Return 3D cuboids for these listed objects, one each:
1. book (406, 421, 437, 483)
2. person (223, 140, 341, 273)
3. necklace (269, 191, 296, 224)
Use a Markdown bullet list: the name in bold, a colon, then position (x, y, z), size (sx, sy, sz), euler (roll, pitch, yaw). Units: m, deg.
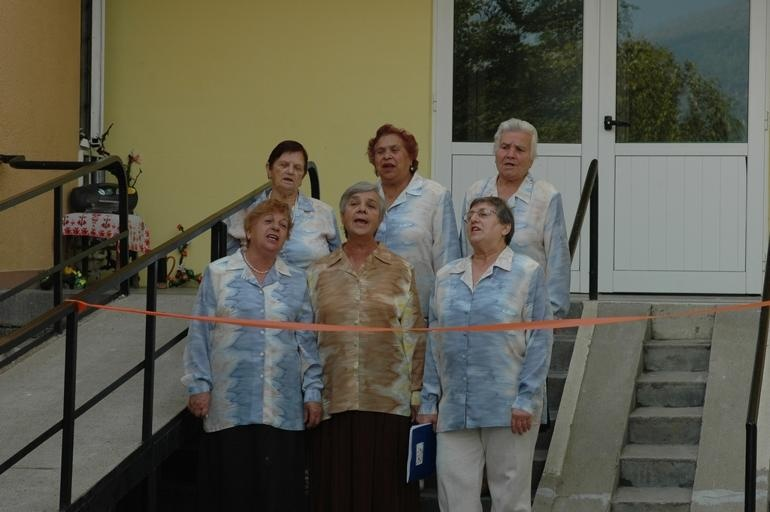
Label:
- **book**: position (0.214, 1.165, 5.812), size (0.099, 0.325, 0.350), euler (-3, 2, 36)
- **person**: position (-0.690, -0.354, 6.894), size (0.945, 1.226, 0.584), euler (0, -18, -8)
- **necklace**: position (-0.640, -0.336, 6.281), size (0.163, 0.202, 0.226), euler (6, -21, -4)
